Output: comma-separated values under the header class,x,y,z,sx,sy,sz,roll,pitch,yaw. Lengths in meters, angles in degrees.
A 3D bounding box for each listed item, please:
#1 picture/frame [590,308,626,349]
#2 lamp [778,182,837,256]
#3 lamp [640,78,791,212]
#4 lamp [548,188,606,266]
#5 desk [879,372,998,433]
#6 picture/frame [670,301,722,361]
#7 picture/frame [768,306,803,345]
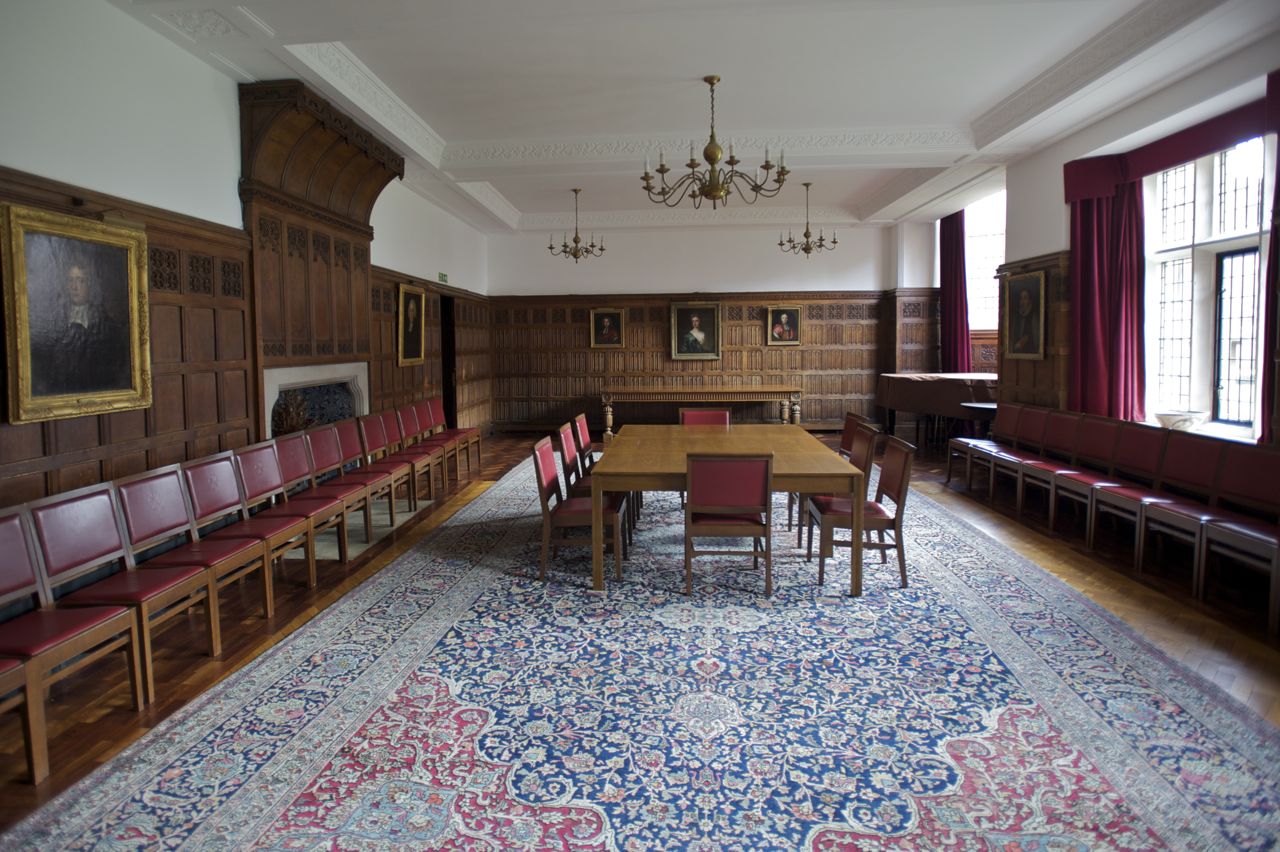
class,x,y,z,sx,sy,sz,roll,pitch,yaw
picture/frame,-0.700,-2.203,16.680,0.812,0.965,0.095,2,10,1
lamp,3.601,-4.248,15.822,1.171,1.570,1.219,0,0,2
lamp,1.019,-4.150,10.855,2.038,1.765,2.194,1,3,33
lamp,-1.562,-4.146,16.047,1.274,1.667,1.322,0,0,2
desk,5.017,-0.527,12.442,1.227,0.652,1.288,0,6,12
picture/frame,1.221,-2.165,16.584,1.148,1.398,0.144,0,0,-3
picture/frame,3.190,-2.258,16.524,0.762,0.868,0.086,1,2,-3
